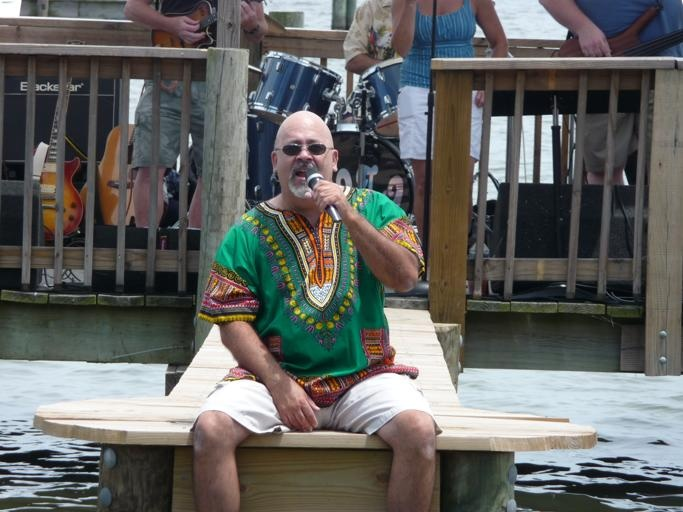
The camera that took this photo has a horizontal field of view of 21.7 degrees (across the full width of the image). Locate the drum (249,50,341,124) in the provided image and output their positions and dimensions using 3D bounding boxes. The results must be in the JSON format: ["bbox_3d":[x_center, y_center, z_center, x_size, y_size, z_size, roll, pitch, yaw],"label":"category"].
[{"bbox_3d":[-0.360,-1.345,14.618,0.661,0.492,0.681,24,-6,3],"label":"drum"}]

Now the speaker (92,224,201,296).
[{"bbox_3d":[-1.471,0.053,12.689,0.541,0.597,0.380,2,-2,-3],"label":"speaker"}]

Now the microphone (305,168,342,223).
[{"bbox_3d":[-0.130,-0.405,10.746,0.110,0.125,0.475,-9,42,-19],"label":"microphone"}]

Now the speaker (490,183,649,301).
[{"bbox_3d":[1.576,-0.105,12.555,1.066,0.801,0.327,2,7,3],"label":"speaker"}]
